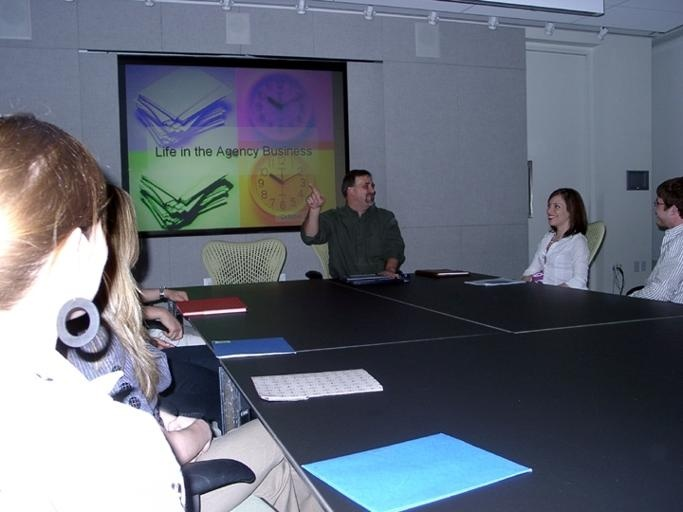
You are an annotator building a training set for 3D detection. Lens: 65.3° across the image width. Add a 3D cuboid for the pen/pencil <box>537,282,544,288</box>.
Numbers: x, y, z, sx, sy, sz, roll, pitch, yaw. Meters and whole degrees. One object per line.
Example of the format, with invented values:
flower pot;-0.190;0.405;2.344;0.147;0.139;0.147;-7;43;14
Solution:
pen/pencil;1.064;0.152;2.852;0.027;0.011;0.044;2;9;-1
